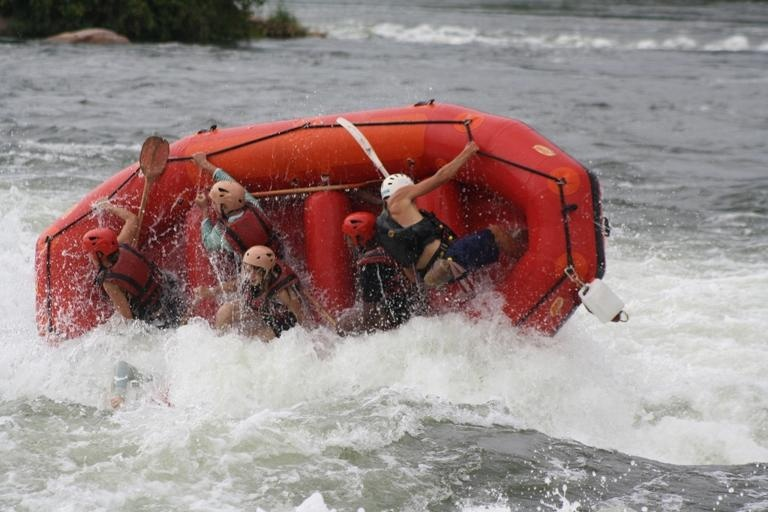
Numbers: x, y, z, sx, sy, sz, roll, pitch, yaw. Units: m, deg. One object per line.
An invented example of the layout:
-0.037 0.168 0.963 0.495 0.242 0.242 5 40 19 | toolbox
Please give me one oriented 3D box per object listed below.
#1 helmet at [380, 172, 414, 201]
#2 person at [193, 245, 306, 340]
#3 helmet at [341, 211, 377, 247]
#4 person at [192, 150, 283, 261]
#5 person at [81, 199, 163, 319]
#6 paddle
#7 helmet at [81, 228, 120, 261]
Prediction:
0.102 -0.789 12.597 0.372 0.310 0.270 16 -24 -22 | helmet
-1.497 0.417 12.480 1.112 1.039 0.477 -5 24 -5 | person
-0.300 -0.307 12.763 0.471 0.316 0.393 -10 -7 -3 | helmet
-1.945 -0.895 12.908 0.416 0.772 1.411 38 53 22 | person
-3.203 0.049 12.904 0.487 0.697 1.328 13 -22 26 | person
-2.875 -0.795 13.019 0.319 1.565 0.167 11 13 -14 | paddle
-3.308 -0.177 12.763 0.420 0.350 0.300 20 16 -2 | helmet
